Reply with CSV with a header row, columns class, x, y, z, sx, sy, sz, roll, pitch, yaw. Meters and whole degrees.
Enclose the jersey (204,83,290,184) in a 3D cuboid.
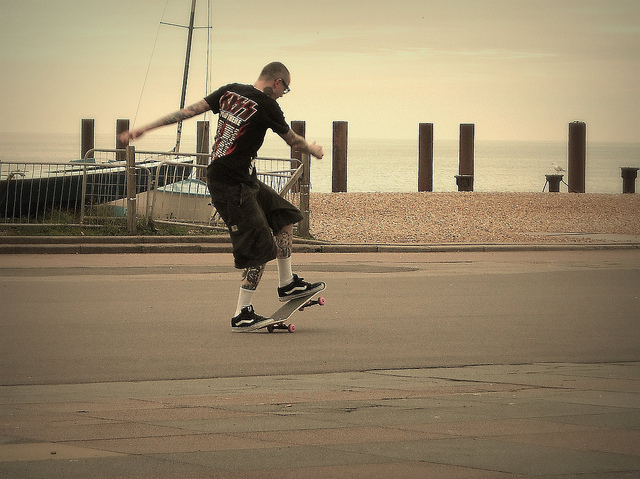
class,x,y,z,sx,sy,sz,roll,pitch,yaw
jersey,-0.728,-0.981,10.007,0.804,0.917,0.230,2,6,22
